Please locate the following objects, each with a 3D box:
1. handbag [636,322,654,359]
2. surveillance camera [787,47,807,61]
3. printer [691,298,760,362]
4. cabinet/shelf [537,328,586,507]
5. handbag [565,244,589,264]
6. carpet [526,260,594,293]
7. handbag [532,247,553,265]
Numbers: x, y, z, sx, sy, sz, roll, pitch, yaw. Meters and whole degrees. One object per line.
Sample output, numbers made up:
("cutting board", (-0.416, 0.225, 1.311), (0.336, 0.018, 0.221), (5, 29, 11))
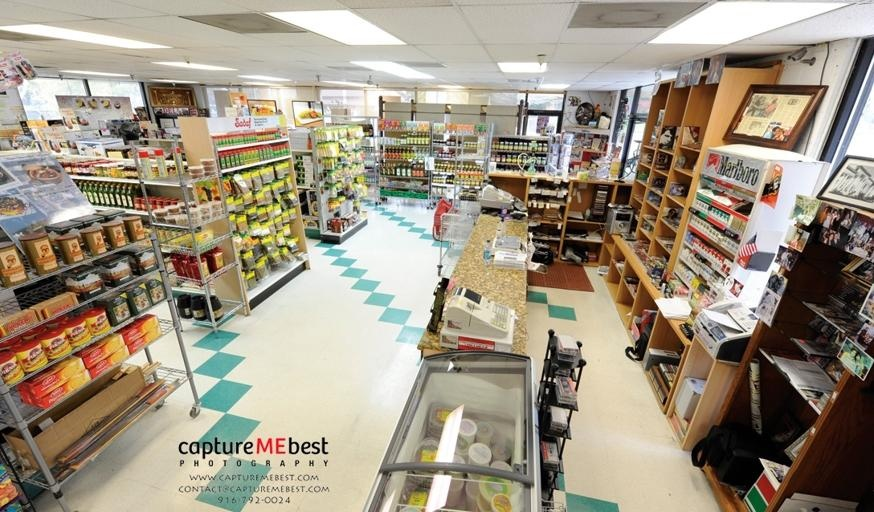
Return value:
("handbag", (3.022, 1.235, 6.763), (0.130, 0.474, 0.406), (13, 26, 24))
("surveillance camera", (4.482, -2.503, 5.776), (0.075, 0.090, 0.161), (15, -3, -15))
("printer", (3.446, 0.865, 5.521), (0.759, 0.449, 0.683), (-15, 38, 7))
("cabinet/shelf", (1.283, 1.843, 5.091), (0.438, 2.030, 1.155), (8, 25, 16))
("handbag", (2.777, -0.041, 9.210), (0.400, 0.136, 0.356), (13, 36, 1))
("carpet", (2.318, 0.377, 8.737), (1.173, 0.130, 0.999), (4, 21, 9))
("handbag", (1.996, -0.018, 8.776), (0.468, 0.308, 0.613), (1, 8, 13))
